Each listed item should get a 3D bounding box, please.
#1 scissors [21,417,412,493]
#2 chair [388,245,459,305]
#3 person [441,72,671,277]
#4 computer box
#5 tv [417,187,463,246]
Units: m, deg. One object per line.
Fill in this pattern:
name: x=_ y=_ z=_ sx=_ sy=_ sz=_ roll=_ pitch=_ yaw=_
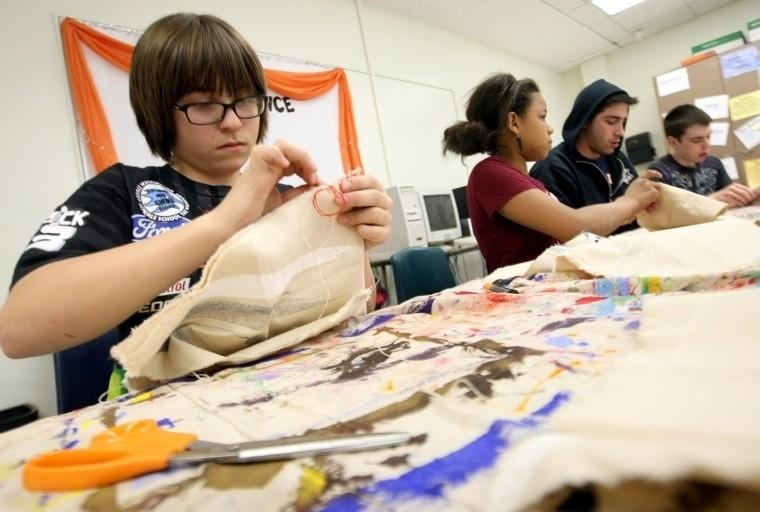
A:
scissors: x=-0.170 y=0.218 z=0.541 sx=0.398 sy=0.027 sz=0.143 roll=-5 pitch=5 yaw=0
chair: x=0.129 y=0.059 z=1.922 sx=0.230 sy=0.282 sz=0.254 roll=-10 pitch=0 yaw=-40
person: x=0.569 y=-0.326 z=1.706 sx=0.446 sy=0.732 sz=0.637 roll=-13 pitch=7 yaw=-10
computer box: x=0.042 y=-0.243 z=3.560 sx=0.524 sy=0.474 sz=0.324 roll=-10 pitch=1 yaw=34
tv: x=0.474 y=-0.311 z=3.696 sx=0.257 sy=0.390 sz=0.459 roll=-19 pitch=-2 yaw=29
